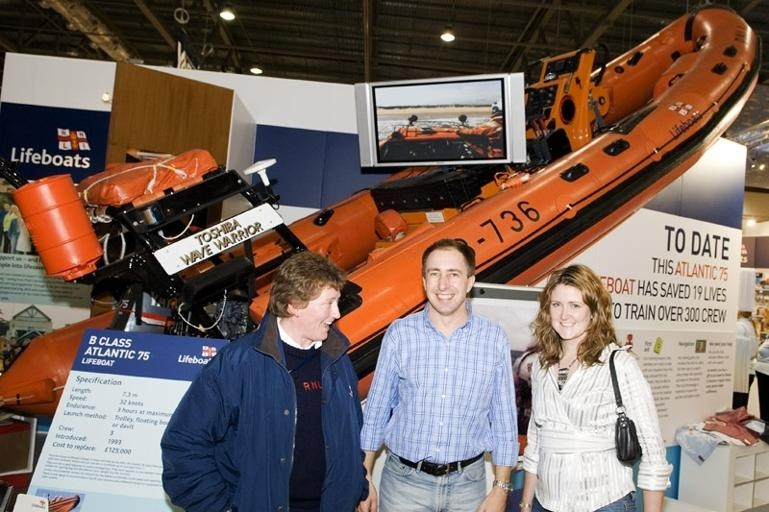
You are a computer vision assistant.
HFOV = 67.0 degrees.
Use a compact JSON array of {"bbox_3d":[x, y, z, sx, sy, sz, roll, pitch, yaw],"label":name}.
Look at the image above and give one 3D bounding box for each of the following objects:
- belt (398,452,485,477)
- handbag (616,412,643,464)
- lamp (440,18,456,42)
[{"bbox_3d":[0.347,1.289,3.575,0.520,0.108,0.082,0,-2,-3],"label":"belt"},{"bbox_3d":[1.412,1.060,3.387,0.086,0.249,0.225,-6,-15,18],"label":"handbag"},{"bbox_3d":[1.050,-3.754,9.648,0.270,0.339,0.310,8,39,15],"label":"lamp"}]
